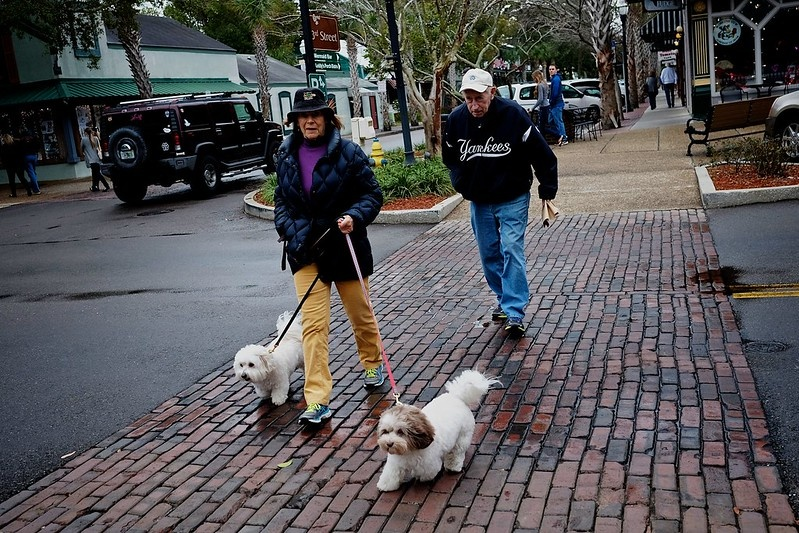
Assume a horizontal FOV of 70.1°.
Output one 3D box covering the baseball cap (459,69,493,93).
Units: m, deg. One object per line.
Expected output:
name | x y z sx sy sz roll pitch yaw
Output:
baseball cap | 0.774 -1.849 5.686 0.307 0.237 0.268 -5 17 9

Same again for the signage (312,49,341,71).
signage | -1.730 -4.879 13.513 0.279 0.459 1.307 -2 18 18

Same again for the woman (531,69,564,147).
woman | 4.903 -5.316 19.252 1.301 2.563 0.692 3 23 32

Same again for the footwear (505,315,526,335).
footwear | 1.226 0.612 6.013 0.165 0.172 0.373 -1 -7 8

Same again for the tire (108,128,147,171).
tire | -8.012 -3.390 16.564 0.423 1.160 1.140 11 23 38

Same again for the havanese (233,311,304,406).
havanese | -1.167 0.894 5.481 0.387 0.631 1.146 -3 14 19

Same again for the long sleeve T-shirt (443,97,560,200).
long sleeve T-shirt | 1.050 -1.209 6.050 1.158 1.141 0.373 -7 17 4

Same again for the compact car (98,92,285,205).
compact car | -6.201 -4.044 18.669 2.581 3.104 6.445 7 23 40

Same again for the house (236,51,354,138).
house | -7.264 -16.671 52.461 8.808 5.756 11.140 -22 24 -36

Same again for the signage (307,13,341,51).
signage | -1.830 -5.553 13.519 1.034 0.774 0.102 18 36 26

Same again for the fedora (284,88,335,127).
fedora | -0.773 -1.378 4.870 0.415 0.280 0.310 -11 17 -9

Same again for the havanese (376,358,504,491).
havanese | 0.322 1.123 4.156 0.422 0.605 1.259 5 13 38

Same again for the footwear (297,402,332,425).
footwear | -0.713 1.243 4.851 0.125 0.143 0.303 -8 -8 34

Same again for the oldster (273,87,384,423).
oldster | -0.699 -0.122 5.029 0.713 2.744 1.129 9 24 43

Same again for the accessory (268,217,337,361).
accessory | -0.835 0.286 5.067 0.111 1.449 0.401 31 0 -36
